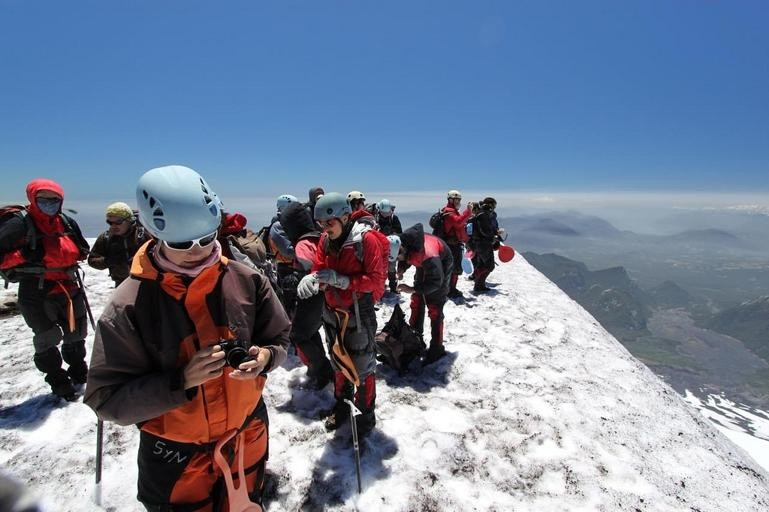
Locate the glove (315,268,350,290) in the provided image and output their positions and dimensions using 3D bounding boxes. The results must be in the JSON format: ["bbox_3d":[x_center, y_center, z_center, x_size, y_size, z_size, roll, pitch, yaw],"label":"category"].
[{"bbox_3d":[-0.955,0.427,7.812,0.384,0.203,0.499,6,-5,44],"label":"glove"}]

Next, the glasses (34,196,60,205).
[{"bbox_3d":[-6.882,-1.132,8.692,0.402,0.168,0.087,-9,16,-30],"label":"glasses"}]

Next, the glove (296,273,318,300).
[{"bbox_3d":[-1.345,0.550,7.932,0.411,0.226,0.466,-39,17,30],"label":"glove"}]

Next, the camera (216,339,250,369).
[{"bbox_3d":[-2.063,1.316,5.853,0.536,0.309,0.372,6,7,-38],"label":"camera"}]
